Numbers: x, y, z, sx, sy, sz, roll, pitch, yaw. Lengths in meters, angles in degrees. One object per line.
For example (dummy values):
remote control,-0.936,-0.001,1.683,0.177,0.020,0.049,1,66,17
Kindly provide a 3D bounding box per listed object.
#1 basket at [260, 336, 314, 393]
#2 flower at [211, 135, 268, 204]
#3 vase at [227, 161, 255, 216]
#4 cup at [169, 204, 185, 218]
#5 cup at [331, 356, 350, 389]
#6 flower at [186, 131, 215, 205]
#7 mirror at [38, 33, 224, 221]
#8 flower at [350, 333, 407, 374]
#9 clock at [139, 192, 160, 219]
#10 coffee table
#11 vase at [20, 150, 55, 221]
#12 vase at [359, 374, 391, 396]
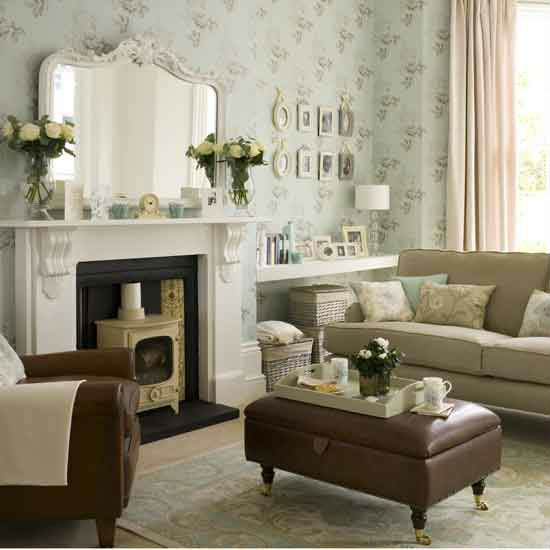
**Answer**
basket,0.085,0.686,4.174,0.469,0.377,0.155,-2,3,-38
flower,-0.243,-0.658,3.675,0.368,0.460,0.411,-2,2,-20
vase,-0.237,-0.593,3.709,0.200,0.400,0.195,-16,24,-40
cup,-0.603,-0.392,3.366,0.082,0.094,0.089,1,6,0
cup,0.290,0.423,2.434,0.080,0.128,0.217,0,2,8
flower,-0.457,-0.716,3.582,0.276,0.350,0.324,1,-1,-15
mirror,-0.865,-0.842,3.154,0.073,1.046,1.214,2,3,36
flower,0.434,0.299,2.234,0.171,0.160,0.184,1,-1,-6
clock,-0.733,-0.398,3.166,0.154,0.181,0.050,2,-5,-42
coffee table,0.327,0.656,2.084,0.984,0.265,0.457,0,2,22
vase,-1.191,-0.446,2.761,0.149,0.322,0.148,2,9,-25
vase,0.400,0.444,2.176,0.091,0.097,0.092,1,-1,-37
